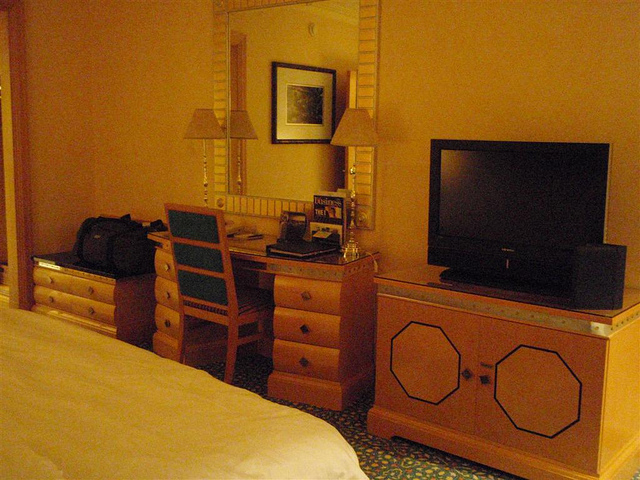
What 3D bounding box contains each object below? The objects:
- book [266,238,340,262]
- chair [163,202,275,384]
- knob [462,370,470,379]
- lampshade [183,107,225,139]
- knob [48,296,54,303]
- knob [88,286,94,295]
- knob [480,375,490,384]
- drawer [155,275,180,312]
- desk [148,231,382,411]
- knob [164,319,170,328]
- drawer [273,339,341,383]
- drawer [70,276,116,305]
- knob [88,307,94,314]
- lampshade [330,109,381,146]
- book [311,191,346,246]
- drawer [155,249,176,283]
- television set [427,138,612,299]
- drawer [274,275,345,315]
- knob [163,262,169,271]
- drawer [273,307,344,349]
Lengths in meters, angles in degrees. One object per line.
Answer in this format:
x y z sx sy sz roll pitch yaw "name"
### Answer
-0.103 0.052 3.295 0.346 0.065 0.374 10 13 28 "book"
-0.624 0.232 3.331 0.567 1.166 0.519 8 9 38 "chair"
0.696 0.637 2.629 0.010 0.035 0.036 10 -20 -39 "knob"
-0.777 -0.782 3.695 0.220 0.140 0.204 7 18 19 "lampshade"
-1.977 0.431 4.038 0.046 0.043 0.011 9 3 30 "knob"
-1.576 0.341 3.782 0.050 0.063 0.013 9 18 32 "knob"
0.772 0.653 2.585 0.038 0.037 0.010 -2 2 31 "knob"
-0.981 0.340 3.544 0.233 0.151 0.136 12 12 37 "drawer"
-0.434 0.414 3.571 1.463 0.898 0.609 9 13 22 "desk"
-0.992 0.536 3.562 0.018 0.051 0.036 -3 -2 -45 "knob"
-0.012 0.728 3.305 0.470 0.233 0.326 1 -5 34 "drawer"
-1.559 0.334 3.778 0.225 0.219 0.056 10 4 14 "drawer"
-1.591 0.485 3.814 0.035 0.032 0.009 4 8 28 "knob"
0.208 -0.642 3.137 0.272 0.206 0.104 4 11 -1 "lampshade"
0.059 -0.135 3.387 0.272 0.389 0.051 12 19 33 "book"
-0.990 0.160 3.532 0.119 0.143 0.201 -5 10 -41 "drawer"
0.897 -0.138 2.647 0.844 0.697 0.208 14 15 40 "television set"
-0.029 0.312 3.249 0.398 0.176 0.317 6 0 21 "drawer"
-0.994 0.168 3.537 0.035 0.031 0.027 -30 7 -23 "knob"
-0.075 0.492 3.142 0.358 0.225 0.270 4 10 17 "drawer"
